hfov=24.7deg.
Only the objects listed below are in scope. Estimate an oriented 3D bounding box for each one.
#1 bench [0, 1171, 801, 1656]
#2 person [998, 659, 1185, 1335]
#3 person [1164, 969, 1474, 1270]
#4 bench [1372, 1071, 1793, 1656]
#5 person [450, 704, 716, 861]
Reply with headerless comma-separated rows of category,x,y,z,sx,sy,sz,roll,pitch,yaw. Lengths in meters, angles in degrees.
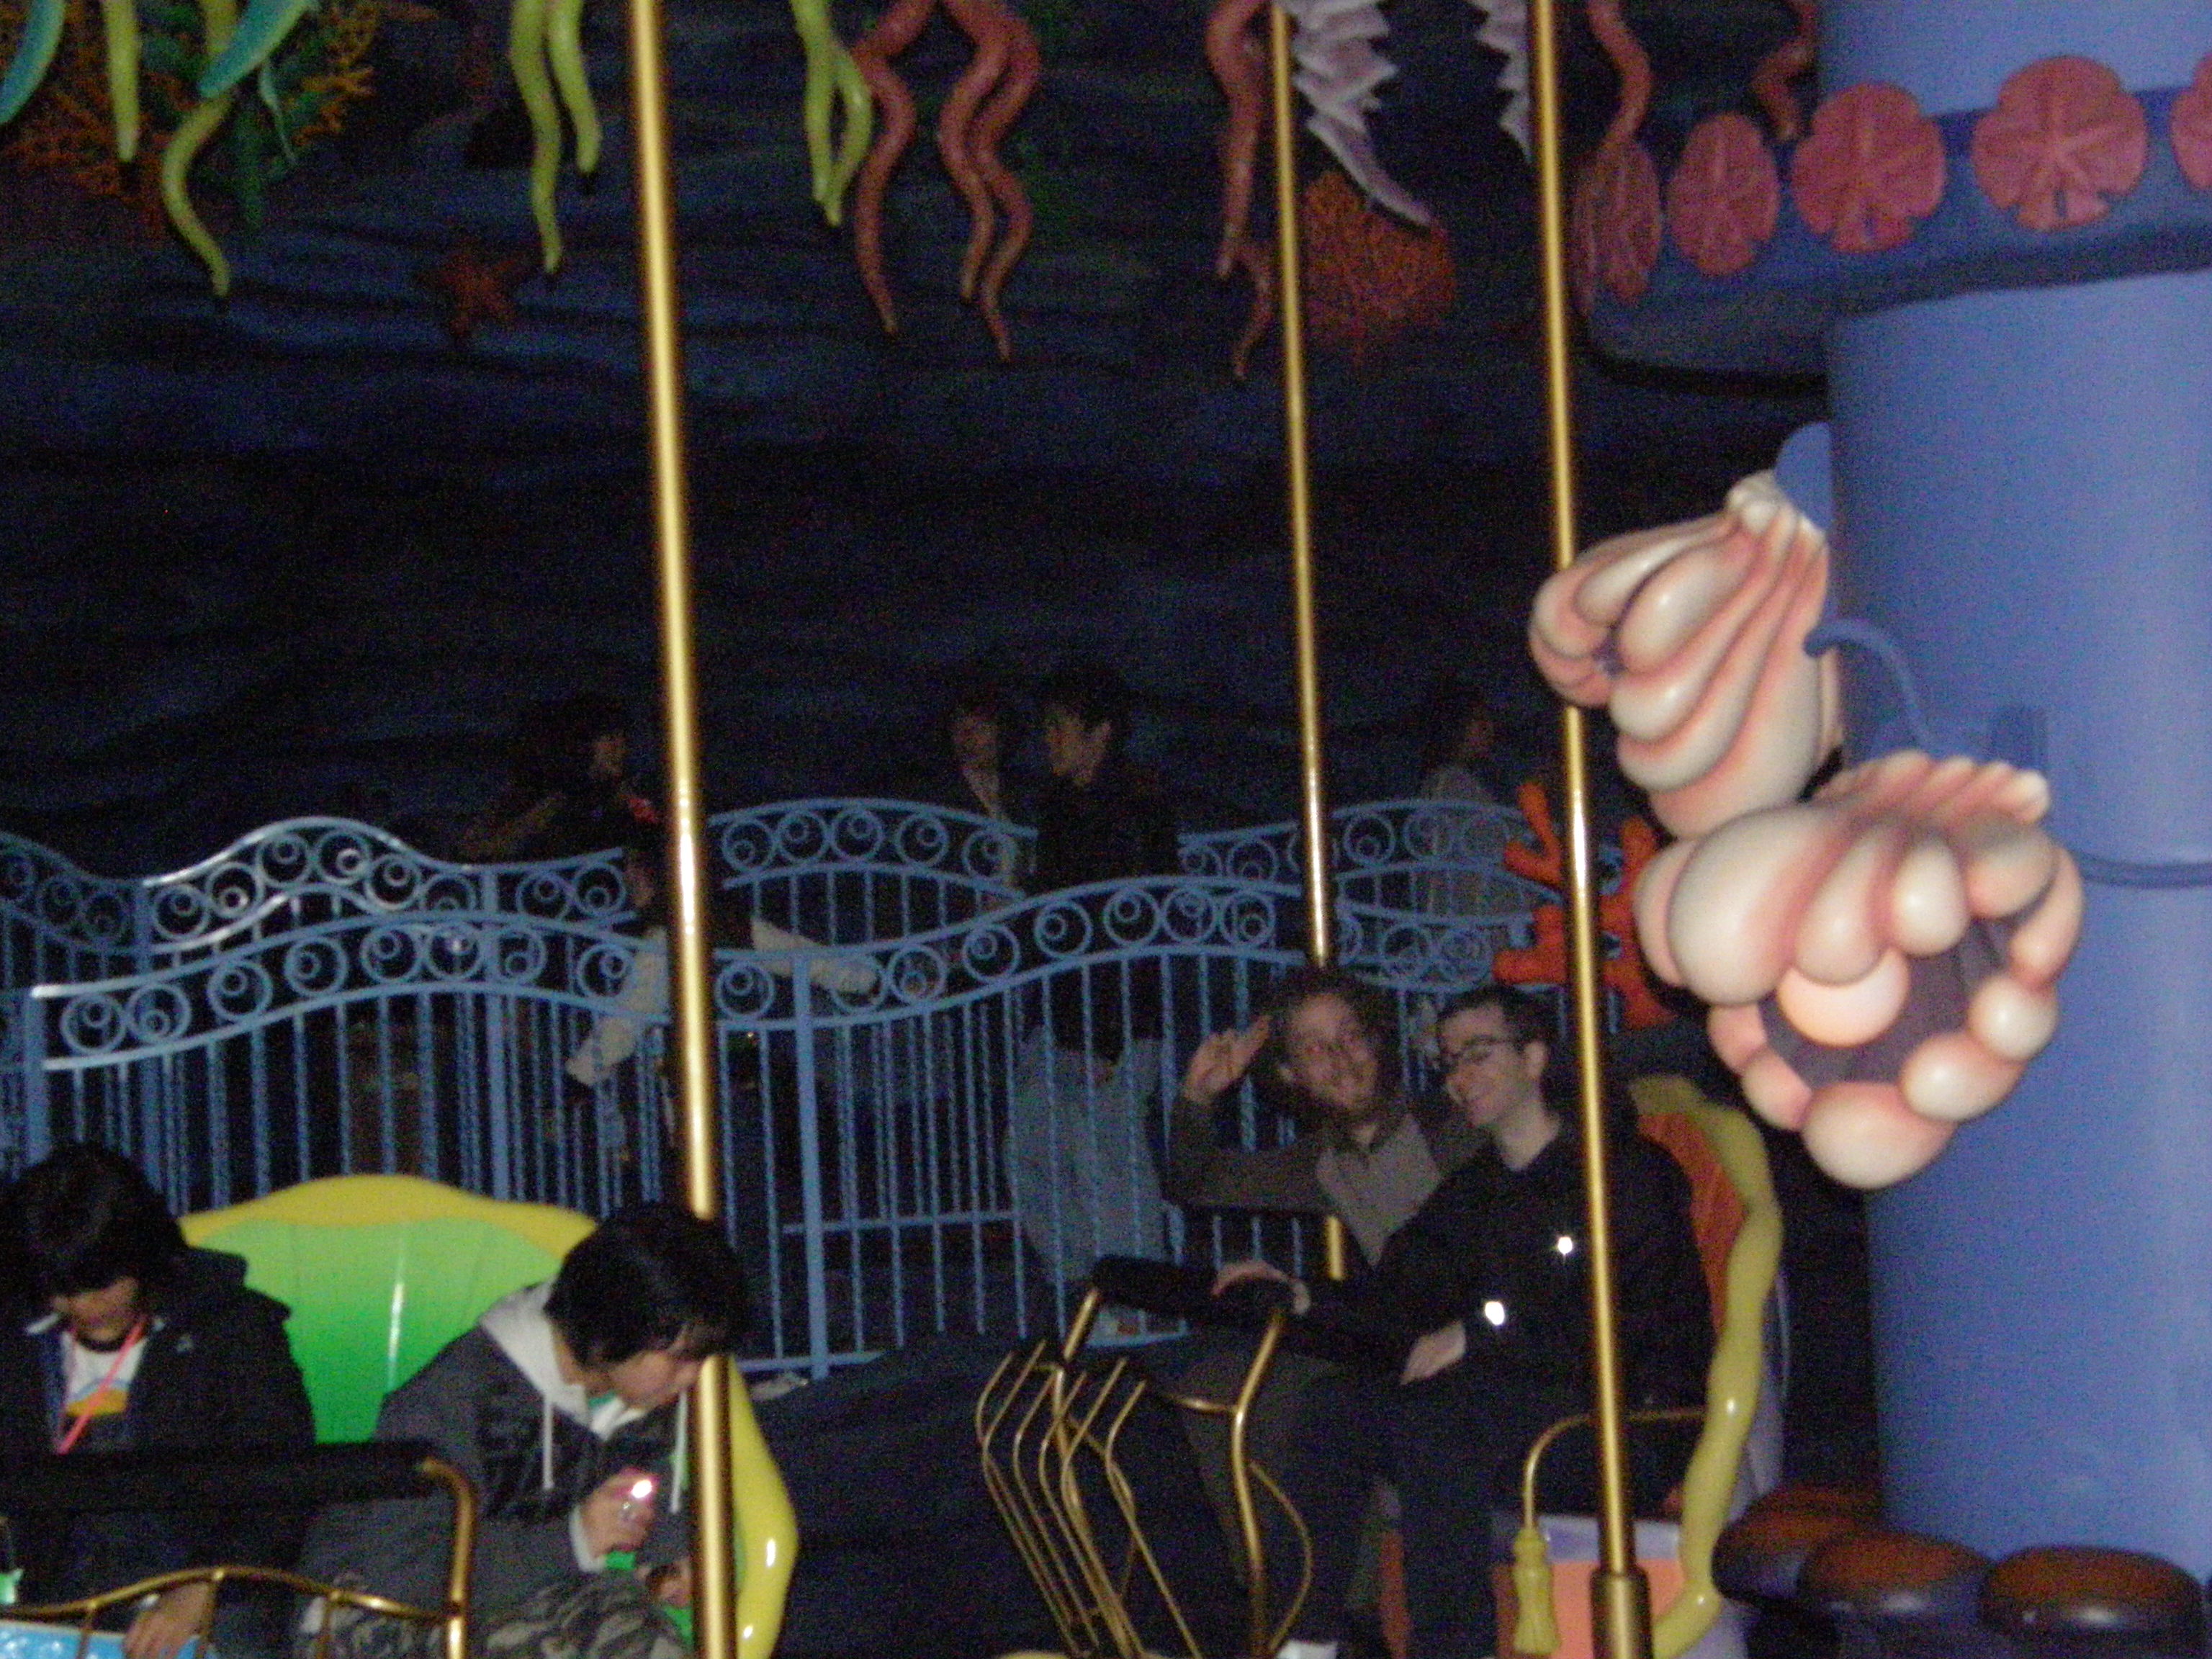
bench,-1.792,1.343,11.573,1.201,1.242,1.178,1,-27,-8
person,-0.017,0.457,15.115,0.524,1.955,1.211,-3,-13,0
person,0.568,0.731,12.811,0.749,0.608,0.229,-26,3,3
bench,0.859,1.206,11.878,1.316,1.291,0.878,2,-10,-6
person,-1.699,-0.151,16.265,0.602,0.305,0.789,-3,4,15
